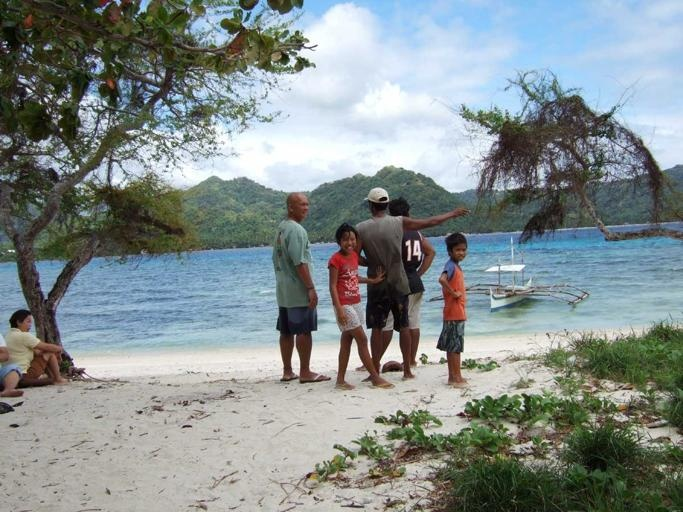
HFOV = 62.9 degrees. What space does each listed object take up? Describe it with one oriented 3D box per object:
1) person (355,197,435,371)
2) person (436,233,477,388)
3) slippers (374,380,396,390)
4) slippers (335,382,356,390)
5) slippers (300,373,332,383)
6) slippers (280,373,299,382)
[{"bbox_3d":[0.782,0.394,8.534,1.308,2.943,0.923,1,21,15],"label":"person"},{"bbox_3d":[1.468,0.724,7.401,0.440,2.038,0.968,-4,10,12],"label":"person"},{"bbox_3d":[0.551,1.687,7.316,0.278,0.070,0.167,-5,9,3],"label":"slippers"},{"bbox_3d":[0.028,1.718,7.421,0.088,0.058,0.223,1,-4,-40],"label":"slippers"},{"bbox_3d":[-0.373,1.709,7.958,0.403,0.142,0.164,-2,1,-3],"label":"slippers"},{"bbox_3d":[-0.783,1.765,8.232,0.106,0.125,0.303,0,3,18],"label":"slippers"}]
